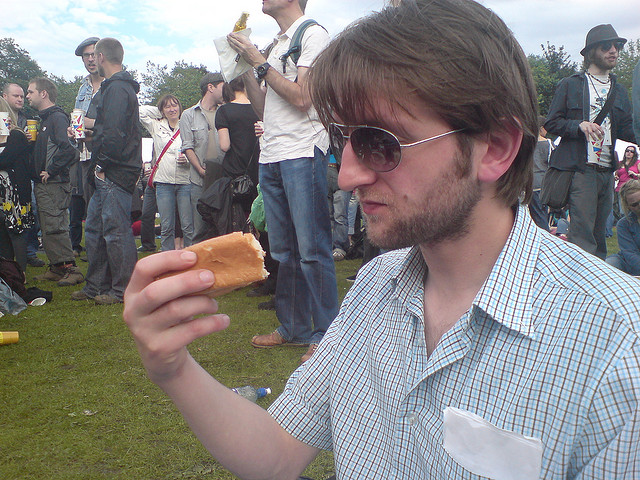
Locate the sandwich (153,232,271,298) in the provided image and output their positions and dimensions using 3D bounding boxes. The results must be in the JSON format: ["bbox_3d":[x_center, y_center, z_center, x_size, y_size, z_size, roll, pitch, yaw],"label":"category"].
[{"bbox_3d":[-0.327,0.054,1.842,0.271,0.120,0.208,-13,20,-8],"label":"sandwich"}]

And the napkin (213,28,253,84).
[{"bbox_3d":[-0.618,-1.327,4.242,0.285,0.313,0.202,9,15,37],"label":"napkin"}]

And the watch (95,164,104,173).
[{"bbox_3d":[-2.092,-0.676,5.458,0.056,0.035,0.064,34,-4,15],"label":"watch"}]

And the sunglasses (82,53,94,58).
[{"bbox_3d":[-2.905,-2.289,7.138,0.089,0.032,0.098,0,2,-6],"label":"sunglasses"}]

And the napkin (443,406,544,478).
[{"bbox_3d":[0.493,0.598,1.650,0.279,0.173,0.053,4,13,19],"label":"napkin"}]

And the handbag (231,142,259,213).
[{"bbox_3d":[-0.757,-0.599,5.727,0.238,0.761,0.249,-7,15,-37],"label":"handbag"}]

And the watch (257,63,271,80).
[{"bbox_3d":[-0.375,-1.149,3.910,0.069,0.113,0.096,13,14,-2],"label":"watch"}]
